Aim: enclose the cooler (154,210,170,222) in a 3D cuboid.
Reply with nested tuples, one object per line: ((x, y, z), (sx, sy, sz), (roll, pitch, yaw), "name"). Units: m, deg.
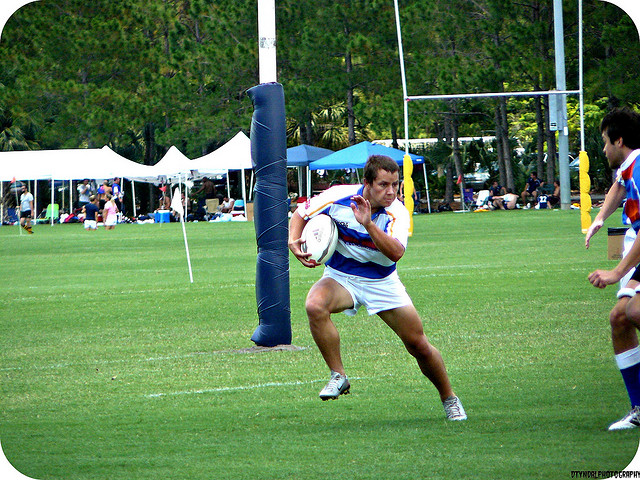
((-5.934, -0.831, 41.721), (0.480, 0.429, 0.476), (1, 6, 12), "cooler")

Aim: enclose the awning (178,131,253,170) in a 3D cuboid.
((-3.223, -2.808, 37.978), (2.952, 1.340, 2.875), (-3, 2, -2), "awning")
